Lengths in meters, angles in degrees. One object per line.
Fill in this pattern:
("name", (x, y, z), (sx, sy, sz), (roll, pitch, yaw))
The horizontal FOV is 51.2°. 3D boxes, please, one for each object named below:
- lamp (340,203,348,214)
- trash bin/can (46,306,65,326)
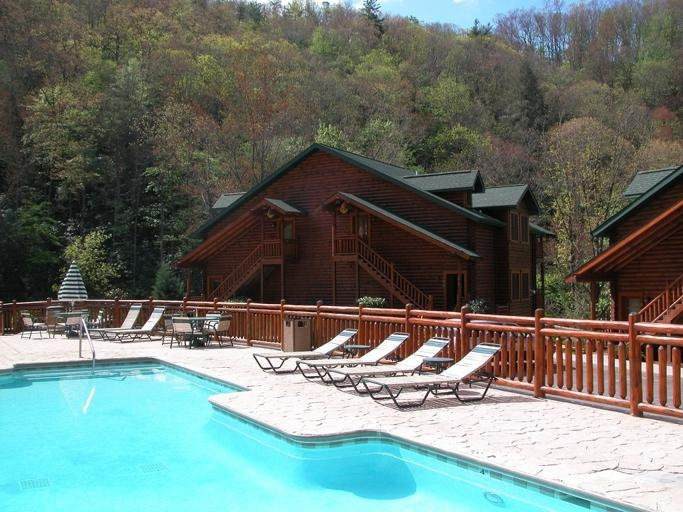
("lamp", (0.148, -2.332, 34.464), (0.398, 0.465, 0.730), (3, 0, 0))
("trash bin/can", (-12.092, 2.505, 30.142), (0.690, 1.037, 0.872), (-1, -1, 24))
